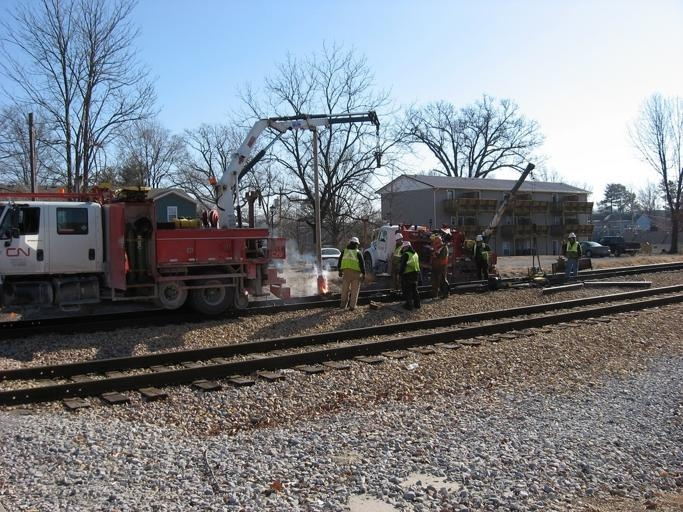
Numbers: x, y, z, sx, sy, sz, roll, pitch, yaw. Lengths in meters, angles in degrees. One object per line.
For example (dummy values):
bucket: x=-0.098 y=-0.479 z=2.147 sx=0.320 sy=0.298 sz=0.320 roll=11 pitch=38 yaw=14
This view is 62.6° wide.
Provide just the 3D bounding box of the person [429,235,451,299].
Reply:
person: x=3.095 y=0.332 z=17.533 sx=0.513 sy=1.906 sz=1.168 roll=1 pitch=6 yaw=11

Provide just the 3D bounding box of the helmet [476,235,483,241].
helmet: x=5.033 y=-0.634 z=20.549 sx=0.257 sy=0.247 sz=0.257 roll=-1 pitch=2 yaw=-39

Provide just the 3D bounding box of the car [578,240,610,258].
car: x=20.761 y=-0.465 z=45.833 sx=1.156 sy=0.932 sz=2.782 roll=-1 pitch=8 yaw=-14

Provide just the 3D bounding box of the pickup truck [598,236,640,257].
pickup truck: x=24.685 y=-0.911 z=50.027 sx=1.789 sy=1.370 sz=3.068 roll=-2 pitch=6 yaw=-36

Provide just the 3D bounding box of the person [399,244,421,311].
person: x=1.837 y=0.539 z=15.027 sx=0.536 sy=1.760 sz=0.507 roll=1 pitch=6 yaw=5

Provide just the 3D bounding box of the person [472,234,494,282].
person: x=5.291 y=0.021 z=21.058 sx=0.659 sy=1.608 sz=2.550 roll=2 pitch=6 yaw=15

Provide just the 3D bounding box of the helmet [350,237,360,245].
helmet: x=0.353 y=-0.436 z=15.368 sx=0.228 sy=0.164 sz=0.335 roll=7 pitch=-4 yaw=-6

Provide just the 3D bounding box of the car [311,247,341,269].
car: x=-0.784 y=0.150 z=27.441 sx=1.042 sy=0.884 sz=2.542 roll=-1 pitch=-4 yaw=-3
